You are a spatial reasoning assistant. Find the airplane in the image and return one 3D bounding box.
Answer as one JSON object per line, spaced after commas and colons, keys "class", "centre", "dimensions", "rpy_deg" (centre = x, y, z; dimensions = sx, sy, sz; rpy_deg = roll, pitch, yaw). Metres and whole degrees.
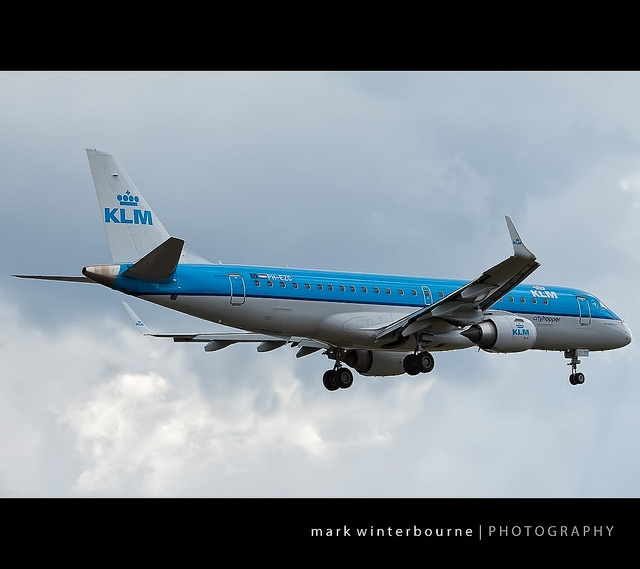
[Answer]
{"class": "airplane", "centre": [0.547, 0.441, 21.535], "dimensions": [9.354, 2.394, 8.688], "rpy_deg": [3, -6, -30]}
